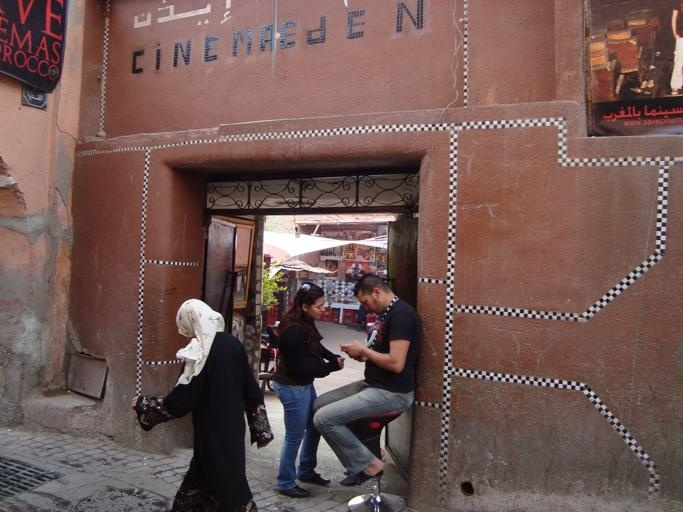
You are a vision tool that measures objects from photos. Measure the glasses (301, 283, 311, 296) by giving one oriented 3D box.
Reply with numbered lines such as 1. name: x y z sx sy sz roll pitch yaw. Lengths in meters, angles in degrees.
1. glasses: -0.353 0.342 6.687 0.097 0.080 0.143 12 -4 -2

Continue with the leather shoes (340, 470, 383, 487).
1. leather shoes: 0.164 2.178 6.344 0.480 0.205 0.170 -3 -7 2

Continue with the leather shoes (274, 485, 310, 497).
1. leather shoes: -0.482 2.373 6.581 0.307 0.129 0.125 -1 -6 3

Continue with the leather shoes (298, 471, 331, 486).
1. leather shoes: -0.276 2.375 6.944 0.365 0.161 0.125 2 -4 2

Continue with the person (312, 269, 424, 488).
1. person: 0.279 1.224 6.349 0.938 2.030 0.495 3 8 1
